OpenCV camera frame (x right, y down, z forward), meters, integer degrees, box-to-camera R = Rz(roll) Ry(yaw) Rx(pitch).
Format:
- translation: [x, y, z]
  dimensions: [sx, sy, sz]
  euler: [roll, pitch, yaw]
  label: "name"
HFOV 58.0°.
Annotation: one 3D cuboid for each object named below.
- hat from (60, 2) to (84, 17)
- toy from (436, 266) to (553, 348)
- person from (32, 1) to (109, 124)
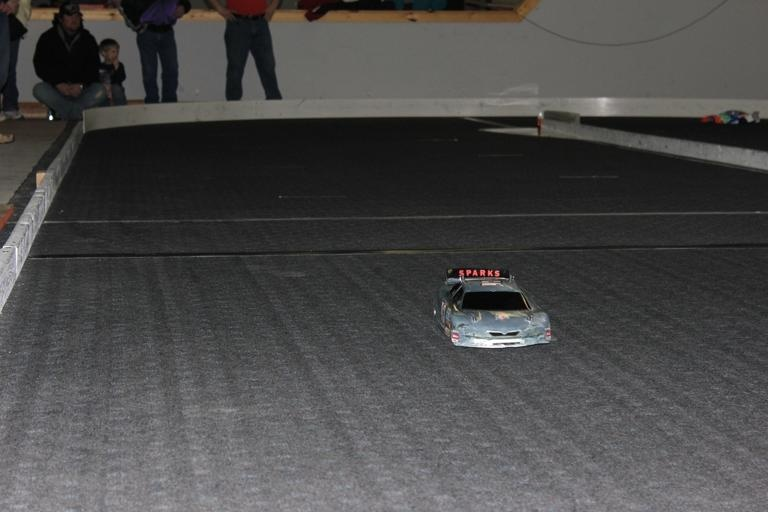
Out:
- translation: [-5.348, -4.226, 11.909]
  dimensions: [0.319, 0.240, 0.444]
  euler: [-5, 14, -22]
  label: "hat"
- translation: [0.673, 0.309, 4.301]
  dimensions: [0.697, 0.332, 0.655]
  euler: [0, 13, -1]
  label: "toy"
- translation: [-5.459, -3.360, 12.081]
  dimensions: [1.120, 1.941, 0.708]
  euler: [-4, 16, -18]
  label: "person"
